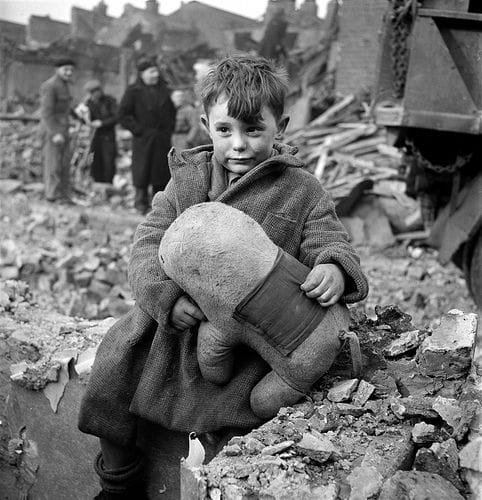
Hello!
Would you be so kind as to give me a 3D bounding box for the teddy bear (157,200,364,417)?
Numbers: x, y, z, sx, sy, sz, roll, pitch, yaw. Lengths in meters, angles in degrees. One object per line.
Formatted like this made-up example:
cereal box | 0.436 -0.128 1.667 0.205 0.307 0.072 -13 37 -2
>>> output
teddy bear | 0.023 0.143 2.249 0.673 0.362 0.494 40 53 12
